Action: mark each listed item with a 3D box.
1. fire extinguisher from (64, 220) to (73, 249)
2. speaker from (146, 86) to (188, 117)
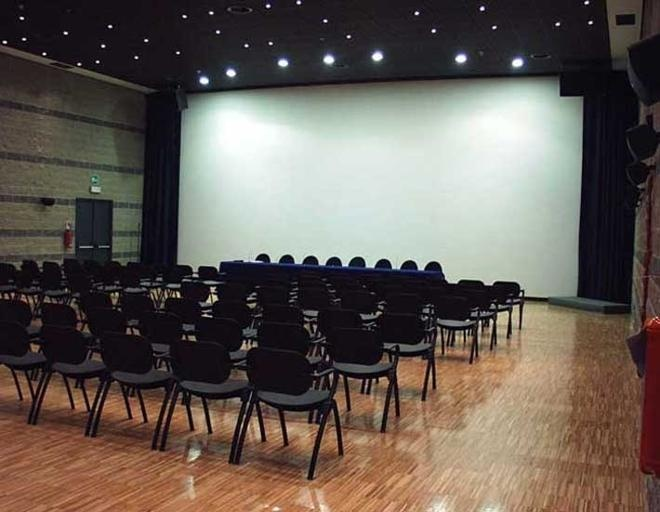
[{"bbox_3d":[-7.759,-0.621,14.597,0.191,0.839,0.361,2,4,18],"label":"fire extinguisher"},{"bbox_3d":[-5.333,-5.155,16.132,1.101,0.467,0.913,2,0,16],"label":"speaker"}]
